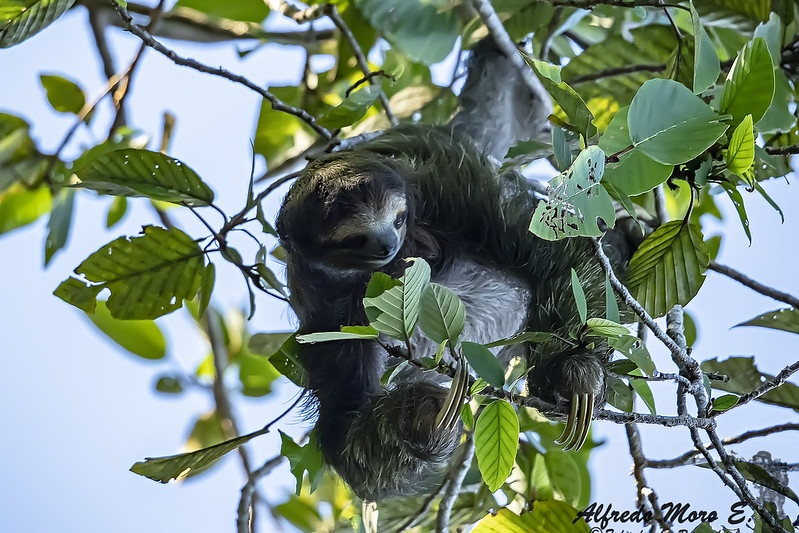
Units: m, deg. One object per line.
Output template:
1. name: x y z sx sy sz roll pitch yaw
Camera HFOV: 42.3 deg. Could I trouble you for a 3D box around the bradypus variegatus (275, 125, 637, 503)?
1. bradypus variegatus: 0.172 0.012 1.302 0.698 0.480 0.276 -5 -10 40
